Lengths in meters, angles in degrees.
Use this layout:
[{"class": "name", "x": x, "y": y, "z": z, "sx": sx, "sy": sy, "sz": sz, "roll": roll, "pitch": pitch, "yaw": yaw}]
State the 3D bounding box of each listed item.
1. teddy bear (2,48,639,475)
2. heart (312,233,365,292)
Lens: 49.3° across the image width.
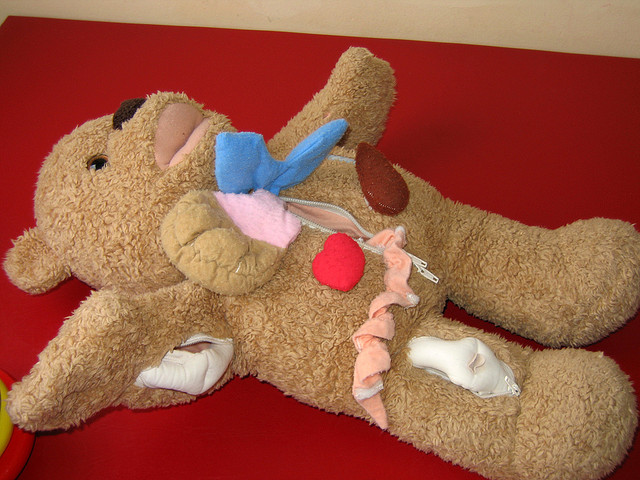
[{"class": "teddy bear", "x": 0.018, "y": 0.159, "z": 1.522, "sx": 0.970, "sy": 0.318, "sz": 0.894, "roll": 20, "pitch": 66, "yaw": 5}, {"class": "heart", "x": 0.041, "y": 0.046, "z": 1.370, "sx": 0.094, "sy": 0.038, "sz": 0.103, "roll": 33, "pitch": 78, "yaw": 8}]
